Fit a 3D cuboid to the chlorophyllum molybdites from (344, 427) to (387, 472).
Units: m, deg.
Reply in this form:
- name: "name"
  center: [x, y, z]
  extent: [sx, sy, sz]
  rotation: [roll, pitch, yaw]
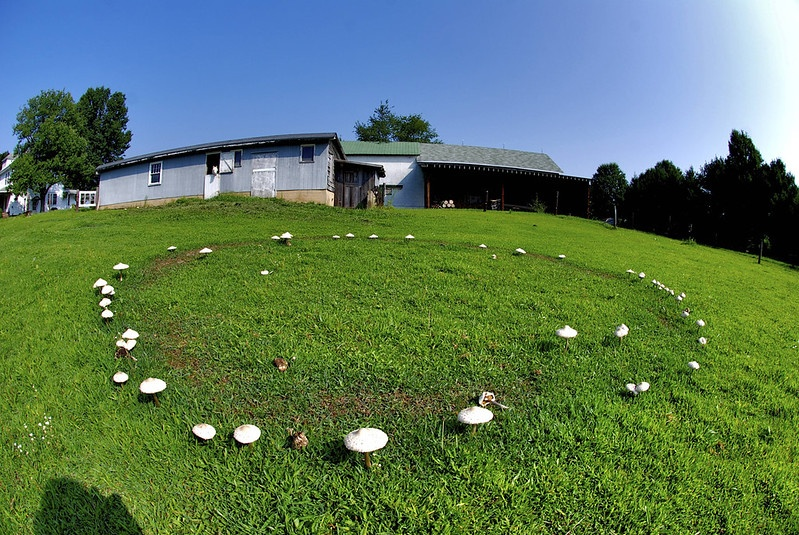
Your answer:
- name: "chlorophyllum molybdites"
  center: [-0.475, 2.413, 7.098]
  extent: [0.529, 0.503, 0.538]
  rotation: [6, 8, 39]

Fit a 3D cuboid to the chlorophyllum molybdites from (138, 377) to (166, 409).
- name: "chlorophyllum molybdites"
  center: [-3.855, 1.972, 7.826]
  extent: [0.293, 0.390, 0.309]
  rotation: [11, 19, 16]

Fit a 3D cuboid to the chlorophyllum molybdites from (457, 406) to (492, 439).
- name: "chlorophyllum molybdites"
  center: [1.128, 2.192, 7.423]
  extent: [0.439, 0.339, 0.437]
  rotation: [1, 10, 24]

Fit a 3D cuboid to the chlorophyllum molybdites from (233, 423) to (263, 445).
- name: "chlorophyllum molybdites"
  center: [-2.217, 2.403, 7.318]
  extent: [0.291, 0.220, 0.304]
  rotation: [9, 15, -24]

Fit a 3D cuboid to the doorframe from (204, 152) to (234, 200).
- name: "doorframe"
  center: [-10.439, -5.298, 28.794]
  extent: [1.720, 2.614, 0.435]
  rotation: [3, 6, 11]
